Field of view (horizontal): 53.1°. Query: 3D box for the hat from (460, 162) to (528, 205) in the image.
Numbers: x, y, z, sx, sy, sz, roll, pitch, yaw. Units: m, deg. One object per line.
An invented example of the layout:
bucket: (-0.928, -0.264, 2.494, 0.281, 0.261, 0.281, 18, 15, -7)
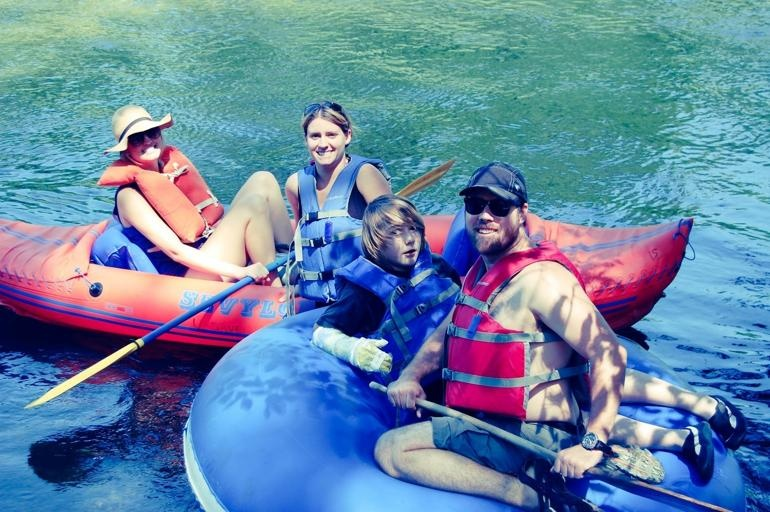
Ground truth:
hat: (0.685, -0.520, 5.234, 0.447, 0.248, 0.526, 7, 13, 15)

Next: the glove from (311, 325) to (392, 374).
glove: (-0.272, 0.698, 5.561, 0.507, 0.130, 0.293, 13, 34, 21)

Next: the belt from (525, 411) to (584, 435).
belt: (1.142, 1.118, 5.124, 0.231, 0.061, 0.170, 3, 12, 16)

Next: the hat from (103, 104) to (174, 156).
hat: (-2.354, -1.194, 7.351, 0.693, 0.287, 0.647, -28, 3, -7)
